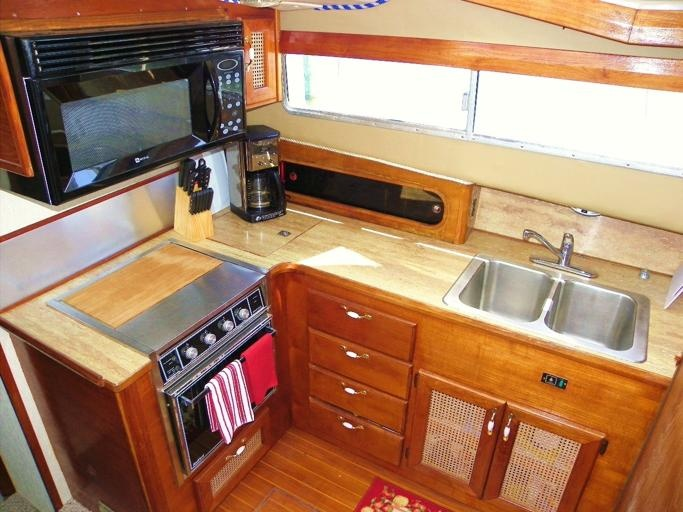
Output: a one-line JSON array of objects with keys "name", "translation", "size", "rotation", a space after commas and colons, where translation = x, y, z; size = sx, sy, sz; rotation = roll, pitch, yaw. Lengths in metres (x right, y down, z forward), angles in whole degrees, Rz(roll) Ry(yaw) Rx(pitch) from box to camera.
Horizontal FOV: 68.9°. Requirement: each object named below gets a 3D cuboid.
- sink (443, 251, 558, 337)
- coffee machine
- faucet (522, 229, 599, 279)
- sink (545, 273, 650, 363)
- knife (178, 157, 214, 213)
[{"name": "sink", "translation": [0.746, 0.230, 2.392], "size": [0.395, 0.243, 0.410], "rotation": [19, 42, 28]}, {"name": "coffee machine", "translation": [-0.488, -0.469, 2.833], "size": [0.346, 0.446, 0.308], "rotation": [-1, 23, -5]}, {"name": "faucet", "translation": [1.004, -0.040, 2.463], "size": [0.249, 0.181, 0.334], "rotation": [16, 1, 12]}, {"name": "sink", "translation": [1.159, 0.324, 2.291], "size": [0.389, 0.281, 0.383], "rotation": [18, 48, 29]}, {"name": "knife", "translation": [-0.744, -0.366, 2.526], "size": [0.185, 0.288, 0.078], "rotation": [-6, 26, -10]}]
